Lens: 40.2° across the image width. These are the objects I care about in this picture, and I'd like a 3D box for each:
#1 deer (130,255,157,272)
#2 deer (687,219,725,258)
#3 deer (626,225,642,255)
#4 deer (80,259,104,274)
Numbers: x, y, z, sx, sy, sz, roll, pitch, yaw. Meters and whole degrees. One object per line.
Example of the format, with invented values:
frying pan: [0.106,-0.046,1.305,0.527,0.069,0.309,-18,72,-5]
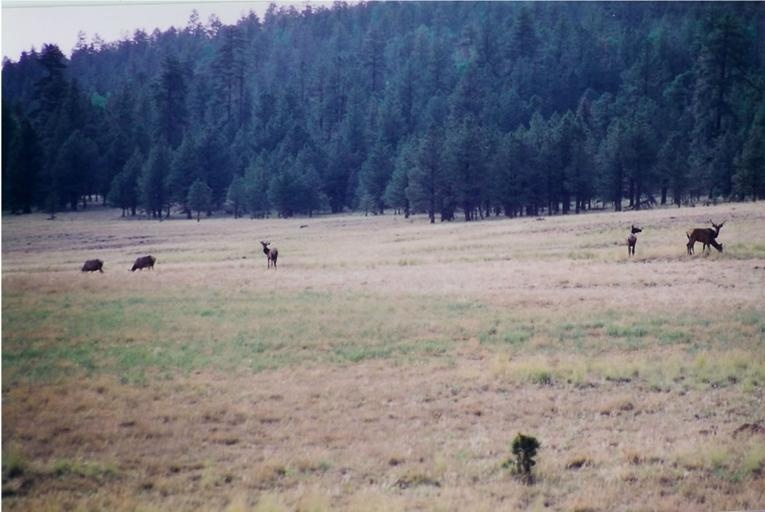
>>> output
deer: [-8.817,0.295,38.858,0.931,0.569,0.375,-3,1,-23]
deer: [12.240,-0.605,39.813,1.301,1.008,0.965,2,15,17]
deer: [9.843,-0.552,40.837,0.222,0.793,1.132,7,49,26]
deer: [-10.544,0.418,38.350,0.991,0.647,0.348,0,-3,-1]
